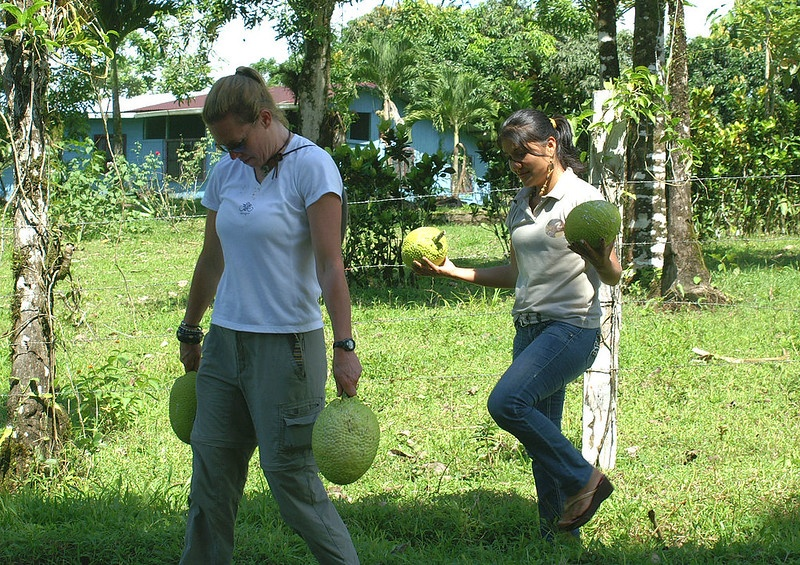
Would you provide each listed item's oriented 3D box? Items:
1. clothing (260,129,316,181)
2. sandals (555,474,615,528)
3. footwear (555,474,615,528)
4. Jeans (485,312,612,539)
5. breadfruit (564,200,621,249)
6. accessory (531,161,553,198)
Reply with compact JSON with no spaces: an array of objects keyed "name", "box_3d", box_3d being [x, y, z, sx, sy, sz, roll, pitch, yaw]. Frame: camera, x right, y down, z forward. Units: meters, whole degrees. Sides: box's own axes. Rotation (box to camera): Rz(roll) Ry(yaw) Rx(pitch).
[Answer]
[{"name":"clothing","box_3d":[-0.675,-0.731,4.719,0.300,0.127,0.236,-45,11,-20]},{"name":"sandals","box_3d":[1.139,1.371,5.092,0.208,0.444,0.176,46,15,34]},{"name":"footwear","box_3d":[1.122,1.358,5.056,0.166,0.426,0.172,43,-6,-18]},{"name":"Jeans","box_3d":[0.942,0.958,5.154,0.759,1.433,0.409,0,7,6]},{"name":"breadfruit","box_3d":[1.186,-0.356,5.012,0.292,0.215,0.307,-19,11,23]},{"name":"accessory","box_3d":[0.929,-0.661,5.256,0.048,0.191,0.148,8,14,-21]}]
